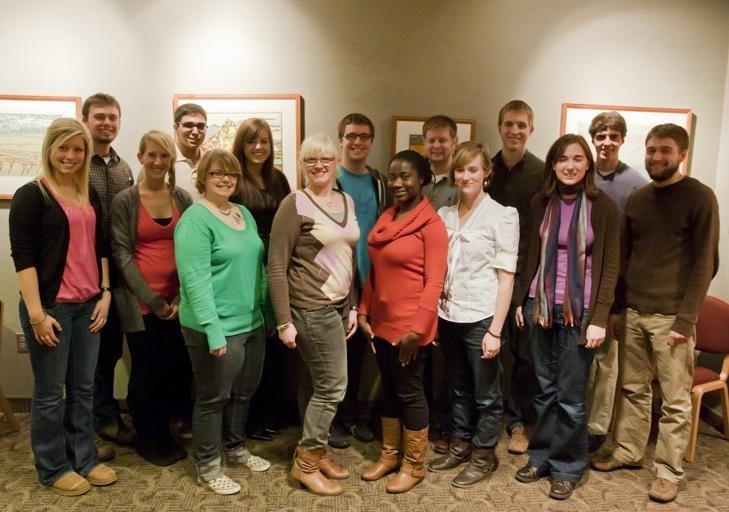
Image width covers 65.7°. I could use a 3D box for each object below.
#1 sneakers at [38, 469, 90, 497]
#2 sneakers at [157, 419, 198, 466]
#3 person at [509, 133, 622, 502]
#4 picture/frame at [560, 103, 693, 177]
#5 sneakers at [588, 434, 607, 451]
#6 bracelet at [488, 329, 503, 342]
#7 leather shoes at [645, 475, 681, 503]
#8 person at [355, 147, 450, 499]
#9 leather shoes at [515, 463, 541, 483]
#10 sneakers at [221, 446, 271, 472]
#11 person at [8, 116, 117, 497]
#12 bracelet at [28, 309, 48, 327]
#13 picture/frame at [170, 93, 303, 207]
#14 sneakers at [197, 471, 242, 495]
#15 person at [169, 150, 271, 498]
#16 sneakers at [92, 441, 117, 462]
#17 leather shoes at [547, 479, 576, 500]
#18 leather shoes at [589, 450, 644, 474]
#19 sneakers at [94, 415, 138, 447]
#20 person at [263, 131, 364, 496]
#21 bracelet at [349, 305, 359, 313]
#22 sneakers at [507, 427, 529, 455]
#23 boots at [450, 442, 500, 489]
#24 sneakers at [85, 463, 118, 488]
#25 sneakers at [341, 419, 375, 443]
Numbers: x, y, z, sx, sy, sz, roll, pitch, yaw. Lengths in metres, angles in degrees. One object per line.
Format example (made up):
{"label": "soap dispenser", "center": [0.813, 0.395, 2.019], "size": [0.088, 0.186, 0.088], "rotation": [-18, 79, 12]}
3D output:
{"label": "sneakers", "center": [-1.945, 1.475, 3.691], "size": [0.294, 0.117, 0.115], "rotation": [0, 17, 11]}
{"label": "sneakers", "center": [-1.320, 1.323, 3.976], "size": [0.231, 0.277, 0.687], "rotation": [6, -16, -23]}
{"label": "person", "center": [1.284, 0.392, 3.702], "size": [0.600, 2.307, 0.580], "rotation": [8, 15, 22]}
{"label": "picture/frame", "center": [1.896, -0.841, 4.115], "size": [0.705, 0.483, 0.031], "rotation": [3, 0, 2]}
{"label": "sneakers", "center": [1.663, 1.340, 4.104], "size": [0.144, 0.129, 0.110], "rotation": [4, -4, 11]}
{"label": "bracelet", "center": [0.839, 0.514, 3.688], "size": [0.082, 0.068, 0.050], "rotation": [4, 13, 9]}
{"label": "leather shoes", "center": [1.939, 1.519, 3.675], "size": [0.105, 0.091, 0.235], "rotation": [-7, -13, 36]}
{"label": "person", "center": [0.240, 0.434, 3.672], "size": [0.557, 2.179, 0.509], "rotation": [1, 14, -3]}
{"label": "leather shoes", "center": [1.106, 1.476, 3.818], "size": [0.182, 0.083, 0.084], "rotation": [4, 3, -10]}
{"label": "sneakers", "center": [-0.795, 1.393, 3.863], "size": [0.364, 0.144, 0.133], "rotation": [10, 19, -2]}
{"label": "person", "center": [-1.899, 0.333, 3.595], "size": [0.525, 2.354, 0.547], "rotation": [-5, 15, -26]}
{"label": "bracelet", "center": [-2.016, 0.389, 3.481], "size": [0.079, 0.104, 0.047], "rotation": [-1, 42, -23]}
{"label": "picture/frame", "center": [-0.946, -0.776, 4.056], "size": [0.992, 0.808, 0.069], "rotation": [0, -1, -2]}
{"label": "sneakers", "center": [-0.938, 1.483, 3.679], "size": [0.270, 0.108, 0.115], "rotation": [6, 9, 12]}
{"label": "person", "center": [-0.921, 0.429, 3.674], "size": [0.442, 2.180, 0.513], "rotation": [7, 14, 20]}
{"label": "sneakers", "center": [-1.845, 1.377, 3.987], "size": [0.083, 0.099, 0.230], "rotation": [-18, 1, -43]}
{"label": "leather shoes", "center": [1.291, 1.523, 3.709], "size": [0.154, 0.100, 0.146], "rotation": [7, 14, 21]}
{"label": "leather shoes", "center": [1.779, 1.448, 4.010], "size": [0.388, 0.165, 0.131], "rotation": [7, -2, -4]}
{"label": "sneakers", "center": [-1.791, 1.274, 4.170], "size": [0.328, 0.137, 0.148], "rotation": [9, 6, 8]}
{"label": "person", "center": [-0.337, 0.386, 3.640], "size": [0.562, 2.263, 0.539], "rotation": [1, 13, -2]}
{"label": "bracelet", "center": [-0.076, 0.362, 3.817], "size": [0.048, 0.047, 0.045], "rotation": [5, -11, 0]}
{"label": "sneakers", "center": [1.119, 1.355, 4.127], "size": [0.088, 0.100, 0.255], "rotation": [-3, 3, 13]}
{"label": "boots", "center": [0.758, 1.402, 3.818], "size": [0.354, 0.249, 0.121], "rotation": [-15, 18, -23]}
{"label": "sneakers", "center": [-1.722, 1.436, 3.719], "size": [0.211, 0.078, 0.097], "rotation": [1, 2, 35]}
{"label": "sneakers", "center": [-0.037, 1.300, 4.236], "size": [0.125, 0.086, 0.233], "rotation": [2, 0, -44]}
